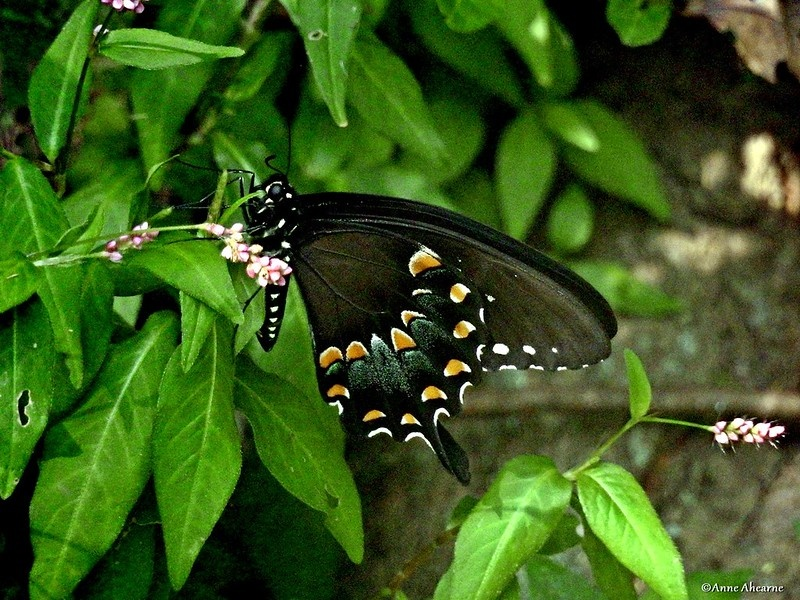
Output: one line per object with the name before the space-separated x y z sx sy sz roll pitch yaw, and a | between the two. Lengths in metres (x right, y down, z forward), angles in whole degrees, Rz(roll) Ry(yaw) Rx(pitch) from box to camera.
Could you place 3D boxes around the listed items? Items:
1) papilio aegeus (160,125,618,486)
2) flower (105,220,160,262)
papilio aegeus | 0.042 0.069 2.220 0.710 0.542 0.113 8 15 2
flower | -0.447 -0.103 1.943 0.087 0.069 0.111 6 16 -5
